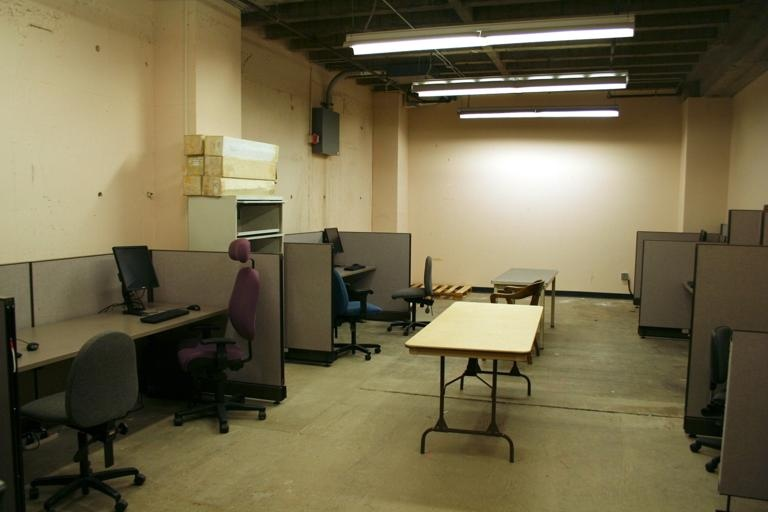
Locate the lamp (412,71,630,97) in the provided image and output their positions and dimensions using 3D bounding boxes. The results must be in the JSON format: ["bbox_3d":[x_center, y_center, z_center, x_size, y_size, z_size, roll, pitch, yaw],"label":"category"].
[{"bbox_3d":[1.931,-2.448,8.865,2.796,0.270,0.679,2,5,13],"label":"lamp"}]

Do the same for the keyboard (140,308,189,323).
[{"bbox_3d":[-2.093,0.575,6.094,0.298,0.077,0.503,3,5,20],"label":"keyboard"}]

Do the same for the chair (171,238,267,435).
[{"bbox_3d":[-1.600,0.739,6.191,0.857,1.816,0.741,0,6,-11],"label":"chair"}]

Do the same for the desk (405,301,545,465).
[{"bbox_3d":[0.924,1.161,6.104,1.074,1.201,1.693,2,5,15],"label":"desk"}]

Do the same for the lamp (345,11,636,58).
[{"bbox_3d":[1.097,-2.351,6.594,2.866,0.326,0.333,2,5,11],"label":"lamp"}]

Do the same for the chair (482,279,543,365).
[{"bbox_3d":[1.775,0.750,7.920,0.969,1.240,0.957,2,3,17],"label":"chair"}]

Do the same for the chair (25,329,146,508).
[{"bbox_3d":[-2.408,1.305,5.049,0.797,1.441,0.484,2,6,8],"label":"chair"}]

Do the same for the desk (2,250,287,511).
[{"bbox_3d":[-2.157,1.022,6.104,1.745,1.268,2.063,1,5,19],"label":"desk"}]

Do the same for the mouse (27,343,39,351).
[{"bbox_3d":[-2.889,0.750,5.199,0.053,0.024,0.071,5,8,10],"label":"mouse"}]

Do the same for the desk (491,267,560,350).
[{"bbox_3d":[1.587,0.699,7.650,0.673,0.809,0.692,0,6,9],"label":"desk"}]
